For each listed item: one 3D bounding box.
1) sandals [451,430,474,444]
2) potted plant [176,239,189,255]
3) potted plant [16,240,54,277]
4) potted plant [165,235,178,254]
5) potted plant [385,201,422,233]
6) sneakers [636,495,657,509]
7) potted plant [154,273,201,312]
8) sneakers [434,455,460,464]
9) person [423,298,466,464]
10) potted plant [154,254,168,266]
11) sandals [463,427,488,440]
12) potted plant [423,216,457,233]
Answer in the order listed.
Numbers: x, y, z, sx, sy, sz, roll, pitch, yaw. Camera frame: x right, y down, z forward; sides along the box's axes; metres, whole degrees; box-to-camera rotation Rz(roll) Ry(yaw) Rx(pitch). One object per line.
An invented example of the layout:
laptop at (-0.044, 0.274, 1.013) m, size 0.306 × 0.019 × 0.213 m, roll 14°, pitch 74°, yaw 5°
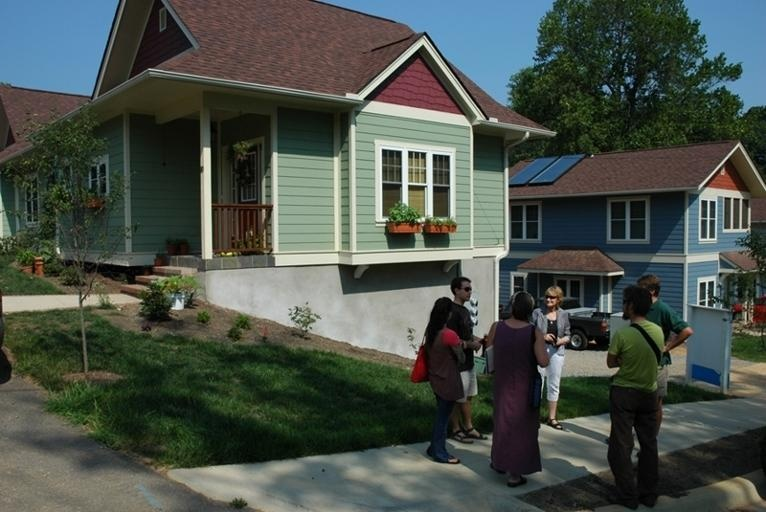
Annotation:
sandals at (1.392, 3.184, 11.605) m, size 0.385 × 0.171 × 0.169 m, roll -2°, pitch 0°, yaw 37°
potted plant at (-5.651, -0.243, 18.484) m, size 0.359 × 0.434 × 0.366 m, roll 0°, pitch 2°, yaw -25°
potted plant at (-10.799, 0.039, 20.531) m, size 1.104 × 0.852 × 1.657 m, roll -3°, pitch 16°, yaw -30°
potted plant at (-5.899, -0.304, 18.191) m, size 0.399 × 0.563 × 0.387 m, roll -10°, pitch -14°, yaw 42°
potted plant at (0.611, -1.004, 18.328) m, size 0.849 × 0.787 × 0.639 m, roll -2°, pitch -3°, yaw -9°
sneakers at (4.095, 3.751, 10.122) m, size 0.338 × 0.167 × 0.126 m, roll 2°, pitch 14°, yaw -12°
potted plant at (-4.876, 0.839, 15.603) m, size 0.803 × 0.601 × 0.810 m, roll 1°, pitch -2°, yaw -16°
sneakers at (1.038, 3.358, 10.818) m, size 0.308 × 0.089 × 0.167 m, roll -4°, pitch -3°, yaw 22°
person at (0.995, 2.034, 10.908) m, size 0.610 × 2.593 × 0.939 m, roll 1°, pitch 14°, yaw -16°
potted plant at (-6.092, 0.120, 17.979) m, size 0.318 × 0.257 × 0.337 m, roll 3°, pitch -3°, yaw -1°
sandals at (1.629, 3.135, 11.685) m, size 0.436 × 0.194 × 0.192 m, roll 0°, pitch 1°, yaw 16°
potted plant at (1.619, -0.905, 18.937) m, size 1.081 × 0.441 × 0.295 m, roll -8°, pitch 19°, yaw -42°
